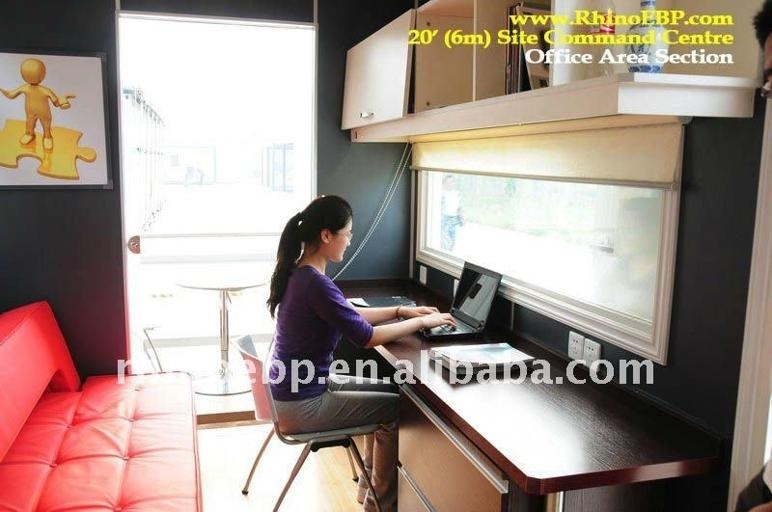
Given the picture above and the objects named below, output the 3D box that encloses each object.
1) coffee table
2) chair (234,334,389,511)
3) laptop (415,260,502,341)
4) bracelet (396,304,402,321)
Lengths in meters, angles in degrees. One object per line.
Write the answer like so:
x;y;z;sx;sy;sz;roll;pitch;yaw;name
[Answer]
-1.264;0.463;4.176;0.875;0.985;0.889;-5;16;-22;coffee table
-0.365;0.806;3.113;0.925;1.271;0.762;-3;6;-13;chair
0.433;0.236;2.837;0.321;0.378;0.435;7;1;-24;laptop
0.076;0.314;2.896;0.020;0.058;0.042;5;-1;-23;bracelet
